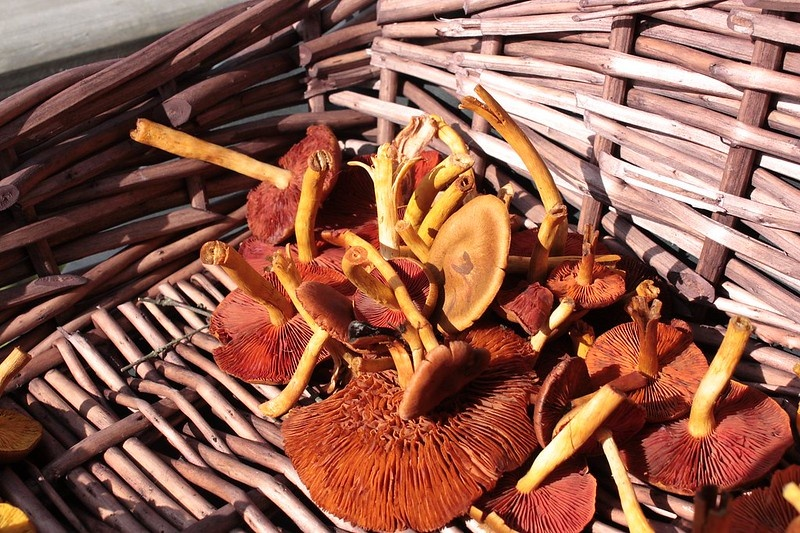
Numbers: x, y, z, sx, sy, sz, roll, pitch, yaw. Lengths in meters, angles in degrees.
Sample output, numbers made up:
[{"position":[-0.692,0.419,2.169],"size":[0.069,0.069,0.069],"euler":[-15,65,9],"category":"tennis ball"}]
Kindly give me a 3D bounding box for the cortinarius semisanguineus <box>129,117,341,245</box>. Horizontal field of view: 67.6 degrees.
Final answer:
[{"position":[-0.467,-0.294,1.858],"size":[0.621,0.191,0.357],"euler":[21,66,-10],"category":"cortinarius semisanguineus"}]

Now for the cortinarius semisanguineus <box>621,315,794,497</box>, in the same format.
[{"position":[0.752,0.313,1.379],"size":[0.361,0.448,0.208],"euler":[-9,25,-24],"category":"cortinarius semisanguineus"}]

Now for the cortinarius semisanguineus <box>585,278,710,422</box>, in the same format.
[{"position":[0.618,0.213,1.495],"size":[0.235,0.250,0.227],"euler":[22,67,34],"category":"cortinarius semisanguineus"}]

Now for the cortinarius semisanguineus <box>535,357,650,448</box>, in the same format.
[{"position":[0.430,0.314,1.369],"size":[0.254,0.223,0.082],"euler":[-9,9,-40],"category":"cortinarius semisanguineus"}]

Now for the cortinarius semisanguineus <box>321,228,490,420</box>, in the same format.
[{"position":[0.005,0.133,1.501],"size":[0.229,0.356,0.490],"euler":[-11,24,-26],"category":"cortinarius semisanguineus"}]

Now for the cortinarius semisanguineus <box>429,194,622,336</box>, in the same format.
[{"position":[0.297,0.013,1.563],"size":[0.100,0.327,0.333],"euler":[25,43,-28],"category":"cortinarius semisanguineus"}]

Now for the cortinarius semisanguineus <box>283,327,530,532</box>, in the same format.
[{"position":[0.058,0.427,1.417],"size":[0.582,0.221,0.477],"euler":[-19,45,14],"category":"cortinarius semisanguineus"}]
